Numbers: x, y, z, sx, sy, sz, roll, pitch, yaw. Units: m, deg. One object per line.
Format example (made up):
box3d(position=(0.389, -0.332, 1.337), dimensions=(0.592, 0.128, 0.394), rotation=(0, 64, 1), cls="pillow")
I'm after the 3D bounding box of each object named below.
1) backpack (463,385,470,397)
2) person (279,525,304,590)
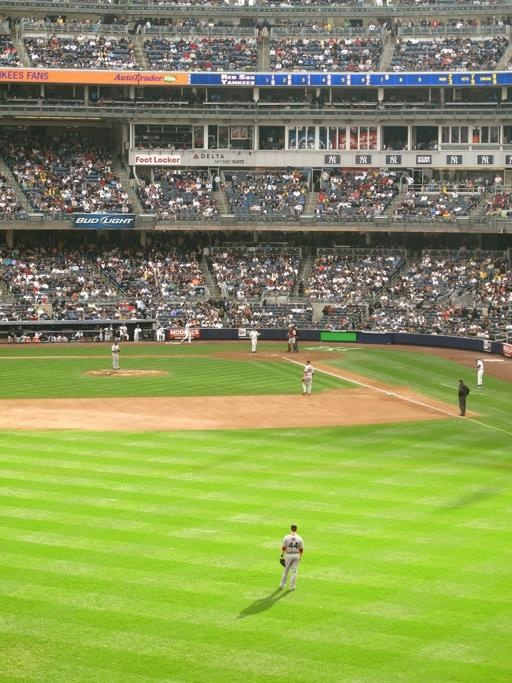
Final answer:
box3d(position=(6.839, 1.602, 42.912), dimensions=(0.280, 0.344, 0.378), rotation=(-10, -10, -3), cls="backpack")
box3d(position=(0.705, 4.271, 26.558), dimensions=(0.419, 1.405, 0.969), rotation=(2, 8, 1), cls="person")
